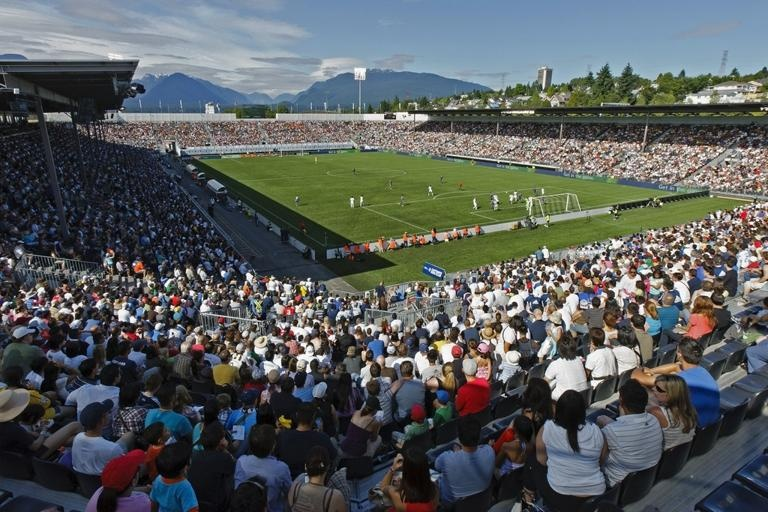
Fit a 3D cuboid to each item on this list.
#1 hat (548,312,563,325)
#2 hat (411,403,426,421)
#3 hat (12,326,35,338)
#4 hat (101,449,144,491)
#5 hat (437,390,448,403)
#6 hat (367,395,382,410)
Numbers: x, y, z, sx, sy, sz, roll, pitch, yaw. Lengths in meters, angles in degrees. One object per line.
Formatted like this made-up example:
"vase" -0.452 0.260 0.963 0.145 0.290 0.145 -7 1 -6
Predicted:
"hat" 4.860 1.822 14.291 0.418 0.158 0.414 22 35 40
"hat" 0.762 3.460 11.185 0.267 0.497 0.296 0 18 -3
"hat" -9.504 2.050 13.392 0.463 0.244 0.319 -13 24 -44
"hat" -4.577 3.732 8.991 0.514 0.383 0.690 16 51 10
"hat" 1.408 3.248 11.814 0.222 0.152 0.325 26 22 36
"hat" -0.192 3.149 11.062 0.341 0.304 0.241 -10 24 -28
